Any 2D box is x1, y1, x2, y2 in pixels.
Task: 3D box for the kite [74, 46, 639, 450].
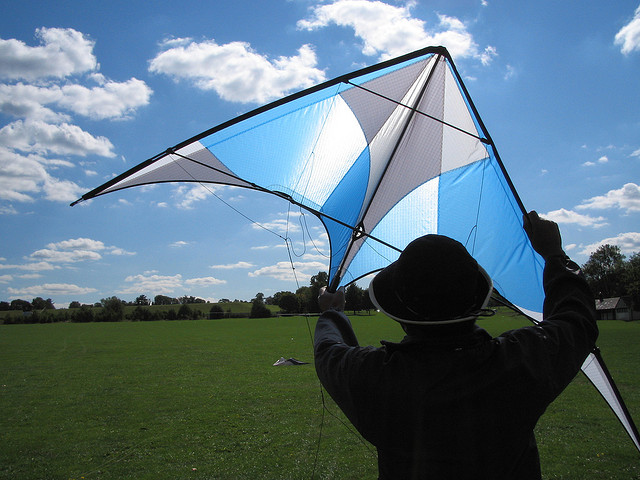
[{"bbox_3d":[1.213,-1.265,7.290,5.950,1.955,4.949,15,16,10],"label":"kite"}]
